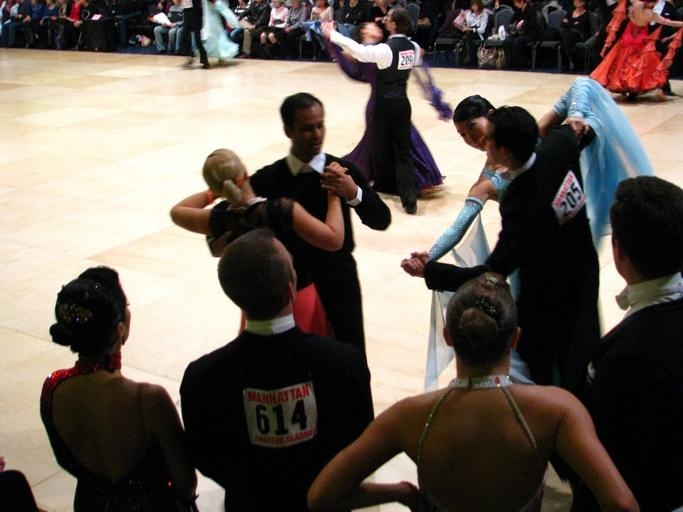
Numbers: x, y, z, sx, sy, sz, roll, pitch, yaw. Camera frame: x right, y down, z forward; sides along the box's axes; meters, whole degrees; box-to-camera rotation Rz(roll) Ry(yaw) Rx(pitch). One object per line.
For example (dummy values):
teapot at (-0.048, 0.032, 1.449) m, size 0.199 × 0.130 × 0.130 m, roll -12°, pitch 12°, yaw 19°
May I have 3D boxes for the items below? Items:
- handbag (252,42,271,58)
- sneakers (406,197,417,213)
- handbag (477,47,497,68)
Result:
handbag at (-2.348, -6.161, 15.675) m, size 0.216 × 0.440 × 0.626 m, roll 1°, pitch 51°, yaw 15°
sneakers at (0.751, -0.537, 5.717) m, size 0.105 × 0.152 × 0.149 m, roll -1°, pitch 8°, yaw 1°
handbag at (3.633, -4.956, 13.094) m, size 0.496 × 0.571 × 0.293 m, roll 4°, pitch 14°, yaw 28°
